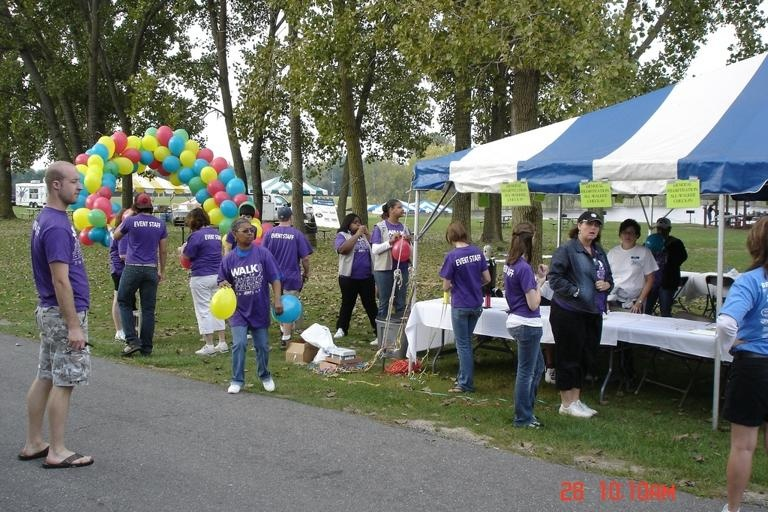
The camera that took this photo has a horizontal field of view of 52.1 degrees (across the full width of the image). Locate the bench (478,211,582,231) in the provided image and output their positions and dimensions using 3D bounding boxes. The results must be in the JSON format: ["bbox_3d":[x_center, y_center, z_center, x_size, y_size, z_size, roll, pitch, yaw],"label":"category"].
[{"bbox_3d":[5.695,-1.365,30.583,1.701,0.660,2.716,-2,7,-9],"label":"bench"}]

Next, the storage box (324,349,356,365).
[{"bbox_3d":[-0.750,1.733,13.493,0.302,0.118,0.301,-3,5,-45],"label":"storage box"}]

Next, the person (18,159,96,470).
[{"bbox_3d":[-4.271,0.742,10.357,0.740,3.848,1.058,-1,3,-42],"label":"person"}]

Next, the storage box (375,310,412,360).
[{"bbox_3d":[0.095,1.367,13.838,0.515,0.625,0.506,-3,-7,-17],"label":"storage box"}]

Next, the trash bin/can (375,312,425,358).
[{"bbox_3d":[0.220,1.379,13.795,0.570,0.685,0.557,1,0,45],"label":"trash bin/can"}]

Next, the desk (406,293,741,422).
[{"bbox_3d":[4.489,1.174,13.975,6.593,2.531,2.901,-6,-4,43],"label":"desk"}]
